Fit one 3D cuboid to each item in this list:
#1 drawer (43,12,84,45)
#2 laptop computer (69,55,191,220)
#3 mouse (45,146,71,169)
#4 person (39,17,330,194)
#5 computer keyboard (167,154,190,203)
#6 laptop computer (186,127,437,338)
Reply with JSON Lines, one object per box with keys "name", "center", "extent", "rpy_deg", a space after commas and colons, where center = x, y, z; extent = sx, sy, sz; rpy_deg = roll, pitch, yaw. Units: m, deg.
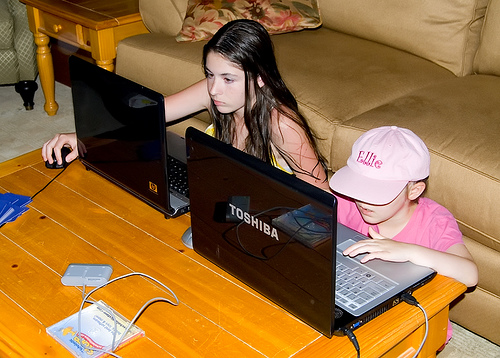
{"name": "drawer", "center": [-1.188, -0.962, 2.550], "extent": [0.422, 0.124, 0.040], "rpy_deg": [29, 48, 27]}
{"name": "laptop computer", "center": [-0.310, -0.205, 1.381], "extent": [0.510, 0.387, 0.372], "rpy_deg": [27, 36, 35]}
{"name": "mouse", "center": [-0.696, -0.087, 1.479], "extent": [0.074, 0.042, 0.107], "rpy_deg": [7, 41, 5]}
{"name": "person", "center": [-0.199, -0.317, 1.579], "extent": [0.554, 0.505, 0.765], "rpy_deg": [-21, 45, -36]}
{"name": "computer keyboard", "center": [-0.265, 0.006, 1.403], "extent": [0.079, 0.196, 0.013], "rpy_deg": [6, 10, 44]}
{"name": "laptop computer", "center": [0.151, 0.060, 1.056], "extent": [0.404, 0.389, 0.551], "rpy_deg": [-19, 26, -34]}
